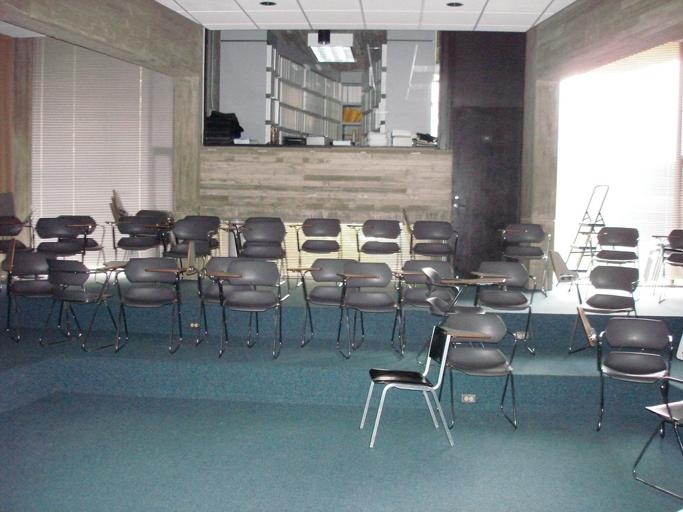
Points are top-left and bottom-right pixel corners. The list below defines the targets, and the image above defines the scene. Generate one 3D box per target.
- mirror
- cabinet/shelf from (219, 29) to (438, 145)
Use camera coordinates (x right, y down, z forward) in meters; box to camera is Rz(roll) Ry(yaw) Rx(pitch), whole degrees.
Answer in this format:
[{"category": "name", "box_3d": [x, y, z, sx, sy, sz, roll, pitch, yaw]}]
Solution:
[{"category": "mirror", "box_3d": [-0.398, -3.649, 11.944, 4.259, 1.961, 3.561, 0, 2, 2]}, {"category": "cabinet/shelf", "box_3d": [-0.169, -3.903, 12.639, 4.173, 1.931, 3.563, 1, 2, 2]}]
